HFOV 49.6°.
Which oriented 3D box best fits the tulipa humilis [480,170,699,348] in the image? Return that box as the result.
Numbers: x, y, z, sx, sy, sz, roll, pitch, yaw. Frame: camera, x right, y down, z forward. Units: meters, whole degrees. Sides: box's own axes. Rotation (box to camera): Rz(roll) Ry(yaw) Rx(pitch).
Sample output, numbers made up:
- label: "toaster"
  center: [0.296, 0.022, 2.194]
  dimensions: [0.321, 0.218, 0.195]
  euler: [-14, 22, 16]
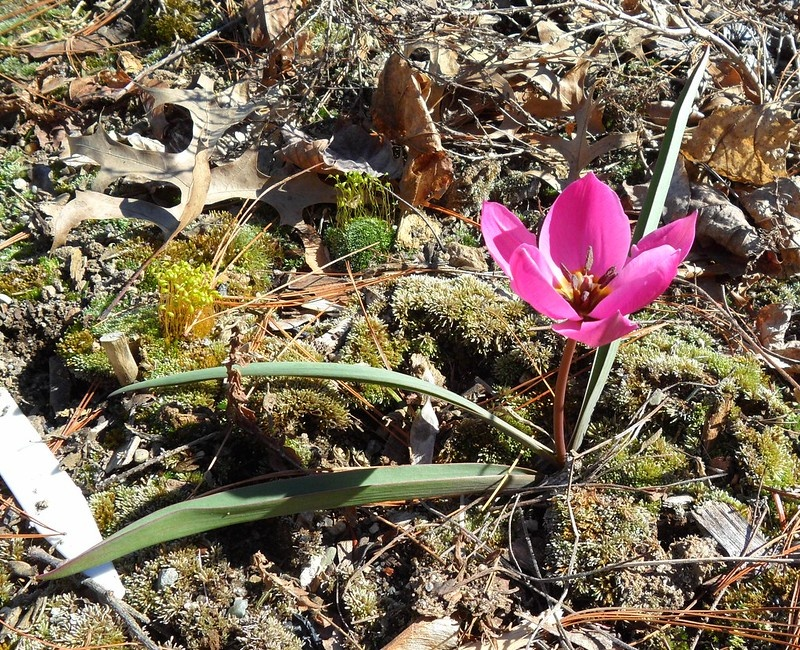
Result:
- label: "tulipa humilis"
  center: [0.569, -0.175, 2.780]
  dimensions: [0.616, 0.344, 0.722]
  euler: [13, 38, 8]
